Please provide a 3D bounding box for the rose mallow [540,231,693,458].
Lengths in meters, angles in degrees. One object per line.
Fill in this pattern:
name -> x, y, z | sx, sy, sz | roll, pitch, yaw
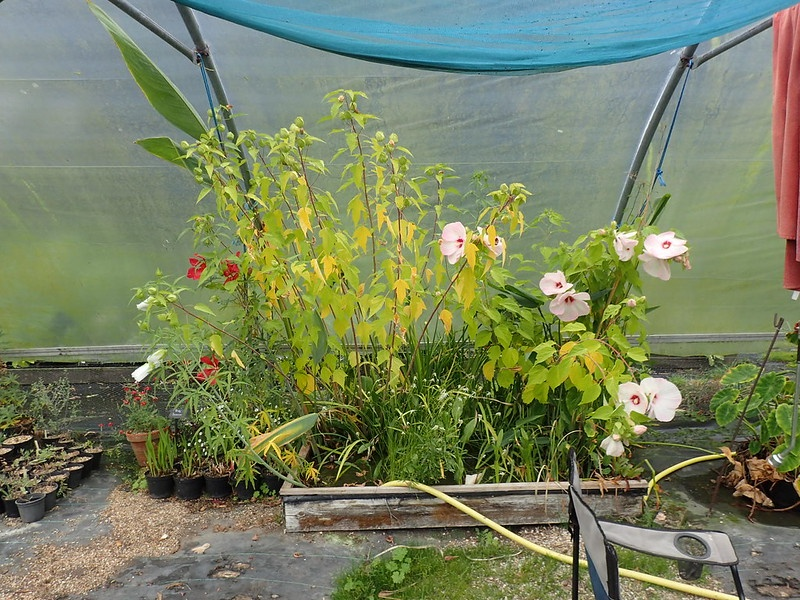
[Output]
rose mallow -> 1.436, 0.344, 4.013 | 0.929, 1.634, 1.101 | 4, 25, 20

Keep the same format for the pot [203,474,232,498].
pot -> -1.367, 1.415, 4.330 | 0.201, 0.113, 0.189 | 1, 4, 0

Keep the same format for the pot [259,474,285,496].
pot -> -0.970, 1.397, 4.325 | 0.186, 0.122, 0.176 | 0, 2, 0

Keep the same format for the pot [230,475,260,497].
pot -> -1.175, 1.433, 4.312 | 0.220, 0.144, 0.206 | 1, 2, 0

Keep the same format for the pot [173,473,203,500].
pot -> -1.582, 1.416, 4.357 | 0.213, 0.135, 0.182 | 0, 4, -7

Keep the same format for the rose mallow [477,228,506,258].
rose mallow -> 0.608, -0.386, 3.786 | 0.086, 0.184, 0.199 | -19, -7, 33

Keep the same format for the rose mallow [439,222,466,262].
rose mallow -> 0.353, -0.378, 3.842 | 0.189, 0.254, 0.175 | -3, 24, 5

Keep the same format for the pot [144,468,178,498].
pot -> -1.846, 1.424, 4.458 | 0.217, 0.140, 0.178 | 0, 4, -12
